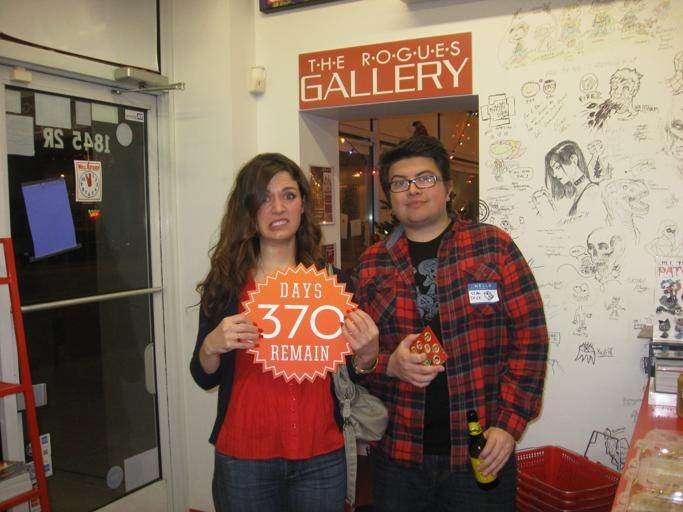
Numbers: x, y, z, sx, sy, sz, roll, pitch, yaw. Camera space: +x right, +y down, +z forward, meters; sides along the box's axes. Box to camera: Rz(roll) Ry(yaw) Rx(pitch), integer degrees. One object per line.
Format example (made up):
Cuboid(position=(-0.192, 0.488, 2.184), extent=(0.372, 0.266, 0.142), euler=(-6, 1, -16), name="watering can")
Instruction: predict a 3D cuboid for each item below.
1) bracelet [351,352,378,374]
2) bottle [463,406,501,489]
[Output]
Cuboid(position=(0.096, 0.446, 2.100), extent=(0.078, 0.038, 0.090), euler=(2, -5, -19), name="bracelet")
Cuboid(position=(0.591, 0.827, 2.138), extent=(0.136, 0.336, 0.121), euler=(-2, 5, -16), name="bottle")
